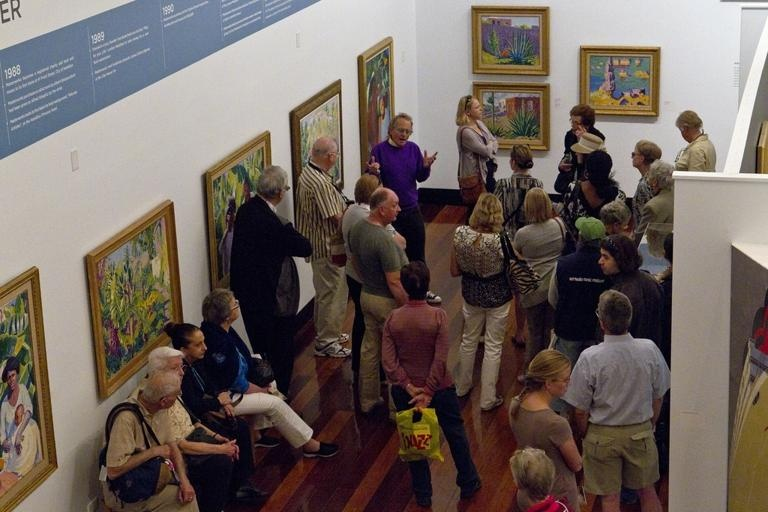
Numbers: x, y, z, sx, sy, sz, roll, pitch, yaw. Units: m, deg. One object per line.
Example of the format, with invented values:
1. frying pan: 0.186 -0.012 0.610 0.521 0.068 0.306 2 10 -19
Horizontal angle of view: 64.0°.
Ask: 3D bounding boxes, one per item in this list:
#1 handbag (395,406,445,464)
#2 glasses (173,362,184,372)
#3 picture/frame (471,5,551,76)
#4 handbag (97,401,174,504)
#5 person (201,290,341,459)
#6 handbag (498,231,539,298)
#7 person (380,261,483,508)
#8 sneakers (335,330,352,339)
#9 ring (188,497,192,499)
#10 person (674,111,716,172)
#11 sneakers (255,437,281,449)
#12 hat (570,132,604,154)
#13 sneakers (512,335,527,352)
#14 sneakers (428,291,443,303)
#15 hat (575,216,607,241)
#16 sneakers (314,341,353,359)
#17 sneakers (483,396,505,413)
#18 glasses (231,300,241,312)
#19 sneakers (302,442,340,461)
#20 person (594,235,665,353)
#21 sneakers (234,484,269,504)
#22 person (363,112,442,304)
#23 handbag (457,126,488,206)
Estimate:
1. handbag: 0.283 1.441 4.910 0.327 0.535 0.185 3 15 15
2. glasses: -1.583 0.845 4.701 0.063 0.044 0.082 -2 5 -31
3. picture/frame: 2.213 -3.741 10.501 1.072 1.008 0.099 2 11 13
4. handbag: -1.826 1.424 4.485 0.517 0.722 0.279 -6 15 -15
5. person: -1.051 1.086 5.545 1.314 1.531 0.559 8 20 4
6. handbag: 1.278 0.044 5.991 0.262 0.639 0.467 -25 0 -9
7. person: 0.371 1.082 4.998 0.774 2.050 0.418 1 14 8
8. sneakers: -0.498 0.967 7.544 0.170 0.077 0.081 -3 49 -2
9. ring: -1.463 1.792 4.596 0.024 0.025 0.006 3 -1 10
10. person: 3.817 -1.409 7.496 0.440 0.650 0.773 6 17 25
11. sneakers: -1.140 1.792 6.018 0.249 0.109 0.101 1 33 -1
12. hat: 2.507 -1.393 7.522 0.318 0.178 0.314 -14 32 -5
13. sneakers: 1.630 1.031 7.392 0.075 0.080 0.224 -7 37 -7
14. sneakers: 0.678 0.549 8.350 0.238 0.110 0.090 -10 28 -5
15. hat: 1.862 -0.272 5.635 0.175 0.110 0.262 -4 37 -5
16. sneakers: -0.608 1.113 7.327 0.457 0.242 0.186 0 21 -2
17. sneakers: 1.134 1.528 6.337 0.231 0.104 0.097 -26 38 -28
18. glasses: -1.309 0.438 5.378 0.078 0.110 0.096 2 9 -2
19. sneakers: -0.602 1.817 5.772 0.333 0.143 0.142 -5 34 -3
20. person: 1.941 0.316 4.881 0.445 1.348 0.502 8 22 30
21. sneakers: -1.167 2.062 5.356 0.248 0.107 0.141 6 44 8
22. person: 0.170 -0.535 8.060 0.952 2.573 0.728 -7 13 -14
23. handbag: 1.239 -1.250 8.959 0.417 1.042 0.419 -1 -5 -27
